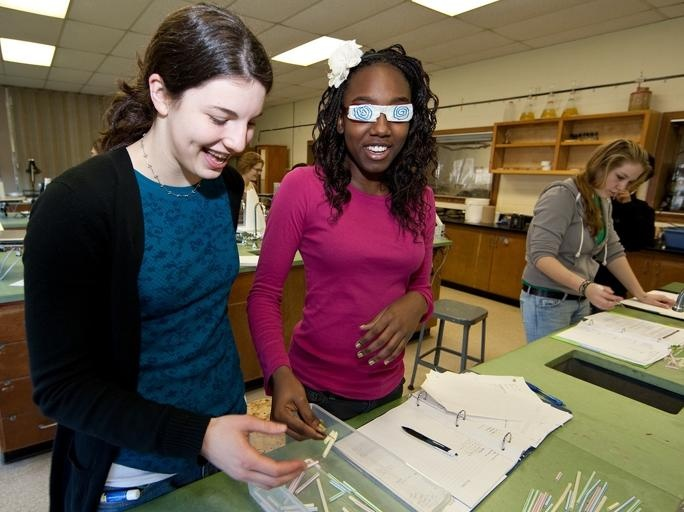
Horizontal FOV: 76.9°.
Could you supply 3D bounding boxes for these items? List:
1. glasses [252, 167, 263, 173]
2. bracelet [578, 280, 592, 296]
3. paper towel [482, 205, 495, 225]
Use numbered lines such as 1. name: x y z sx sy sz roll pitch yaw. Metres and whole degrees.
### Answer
1. glasses: -0.814 -0.820 4.095 0.041 0.054 0.041 -30 -14 34
2. bracelet: 1.089 0.144 1.937 0.022 0.064 0.057 12 -7 20
3. paper towel: 1.806 -0.497 5.287 0.204 0.242 0.208 0 8 -4
